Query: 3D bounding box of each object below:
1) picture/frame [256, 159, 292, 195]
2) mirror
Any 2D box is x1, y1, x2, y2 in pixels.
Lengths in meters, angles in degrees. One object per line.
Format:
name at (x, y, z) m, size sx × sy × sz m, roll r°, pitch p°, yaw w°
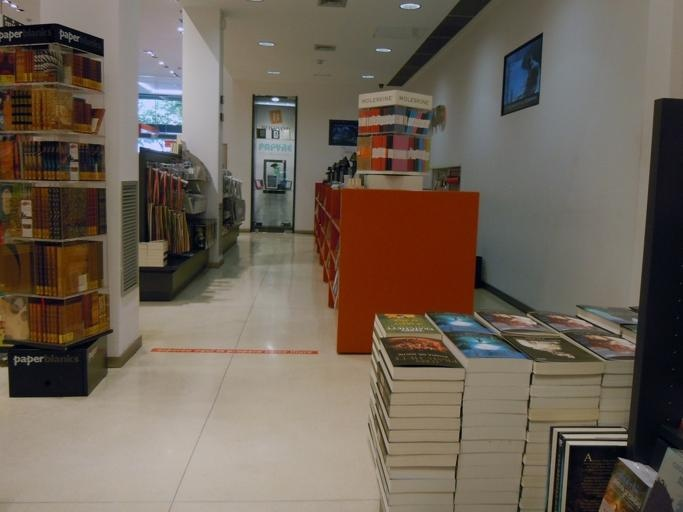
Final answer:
picture/frame at (-1.673, -1.973, 13.327) m, size 0.855 × 0.868 × 0.473 m, roll 1°, pitch 3°, yaw -15°
mirror at (-1.626, -2.263, 13.333) m, size 1.065 × 3.274 × 0.215 m, roll 1°, pitch 8°, yaw -5°
